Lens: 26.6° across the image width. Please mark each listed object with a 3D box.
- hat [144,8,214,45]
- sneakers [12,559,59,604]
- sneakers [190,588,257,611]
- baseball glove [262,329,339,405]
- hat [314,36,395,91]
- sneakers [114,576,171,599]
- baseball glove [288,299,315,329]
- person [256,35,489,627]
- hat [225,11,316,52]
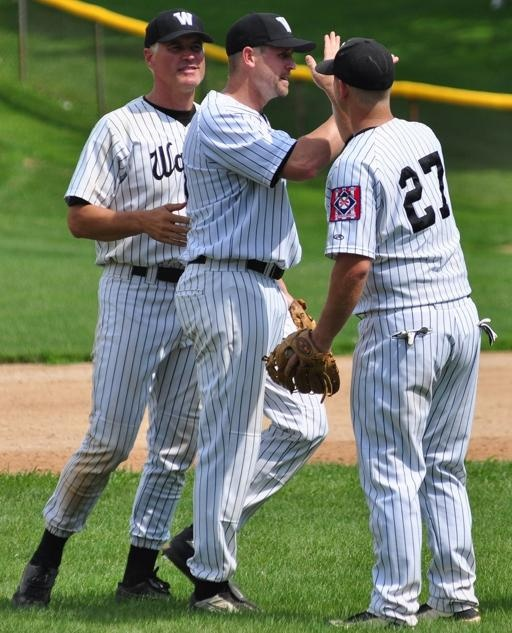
[{"bbox_3d":[-0.299,-1.118,4.170,0.157,0.097,0.209,-8,-5,-40],"label":"hat"},{"bbox_3d":[-0.804,0.987,3.956,0.074,0.083,0.208,27,44,-10],"label":"sneakers"},{"bbox_3d":[-0.106,0.992,3.739,0.231,0.088,0.082,0,5,-14],"label":"sneakers"},{"bbox_3d":[0.176,0.174,3.670,0.323,0.147,0.253,15,-38,-34],"label":"baseball glove"},{"bbox_3d":[0.330,-0.822,3.580,0.157,0.129,0.229,-16,38,-30],"label":"hat"},{"bbox_3d":[-0.420,1.007,4.016,0.215,0.083,0.076,-2,5,-11],"label":"sneakers"},{"bbox_3d":[0.187,-0.002,4.311,0.077,0.134,0.040,-35,-5,-16],"label":"baseball glove"},{"bbox_3d":[0.474,0.048,3.576,0.706,1.952,0.452,-7,8,-27],"label":"person"},{"bbox_3d":[0.031,-0.963,3.719,0.242,0.115,0.152,-7,7,5],"label":"hat"}]
